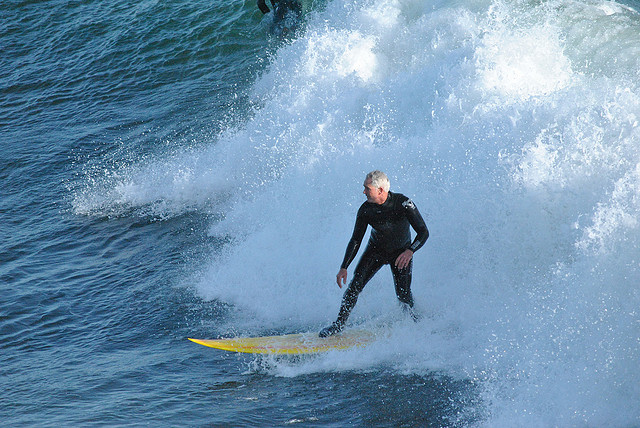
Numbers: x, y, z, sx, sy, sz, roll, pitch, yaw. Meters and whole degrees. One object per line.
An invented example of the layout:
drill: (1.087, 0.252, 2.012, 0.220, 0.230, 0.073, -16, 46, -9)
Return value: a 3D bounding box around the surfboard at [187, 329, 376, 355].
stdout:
surfboard: (-0.548, 2.655, 18.953, 3.375, 0.520, 0.450, -5, 81, 2)
